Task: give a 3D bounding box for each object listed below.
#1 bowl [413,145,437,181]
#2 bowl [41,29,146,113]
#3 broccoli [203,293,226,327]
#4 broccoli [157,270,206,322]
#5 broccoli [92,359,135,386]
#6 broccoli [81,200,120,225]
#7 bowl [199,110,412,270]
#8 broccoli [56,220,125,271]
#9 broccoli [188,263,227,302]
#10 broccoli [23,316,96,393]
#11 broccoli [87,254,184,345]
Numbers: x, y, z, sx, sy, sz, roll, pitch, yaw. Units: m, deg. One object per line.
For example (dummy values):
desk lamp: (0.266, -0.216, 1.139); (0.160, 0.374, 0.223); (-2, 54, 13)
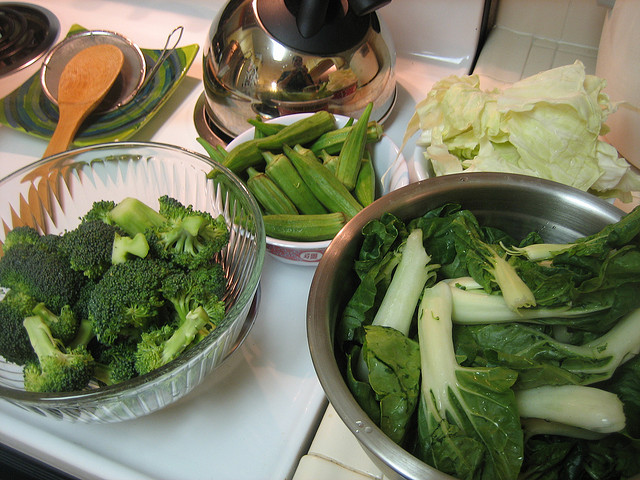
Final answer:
bowl: (0.199, -0.142, 0.940); (0.050, 0.061, 0.022); (-7, 0, 0)
bowl: (-0.516, -0.378, 1.217); (0.198, 0.227, 0.073); (-4, 59, -6)
broccoli: (-0.165, 0.109, 0.780); (0.031, 0.020, 0.039); (-7, 45, -15)
broccoli: (-0.220, 0.089, 0.806); (0.077, 0.103, 0.080); (0, -2, -9)
broccoli: (-0.313, 0.201, 0.761); (0.053, 0.033, 0.040); (-1, 23, 36)
broccoli: (-0.371, -0.047, 0.849); (0.018, 0.044, 0.046); (27, 36, 6)
bowl: (-0.024, -0.129, 0.972); (0.305, 0.196, 0.349); (-16, 37, -1)
broccoli: (-0.372, 0.004, 0.851); (0.106, 0.067, 0.080); (17, 28, 23)
broccoli: (-0.175, 0.062, 0.803); (0.053, 0.050, 0.071); (-3, 26, -10)
broccoli: (-0.410, 0.159, 0.748); (0.045, 0.101, 0.077); (-24, 25, 0)
broccoli: (-0.324, 0.081, 0.860); (0.172, 0.119, 0.121); (-21, 39, -33)
